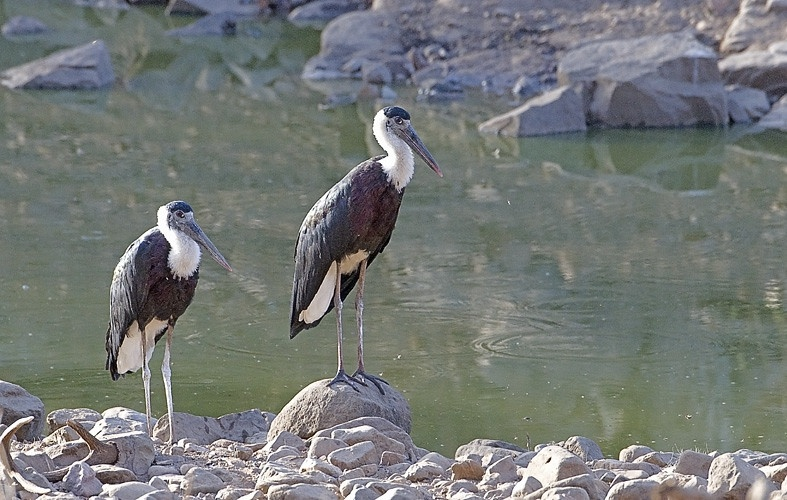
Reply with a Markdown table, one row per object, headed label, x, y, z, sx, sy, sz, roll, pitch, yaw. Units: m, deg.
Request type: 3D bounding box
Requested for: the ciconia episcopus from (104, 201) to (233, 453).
| label | x | y | z | sx | sy | sz | roll | pitch | yaw |
| --- | --- | --- | --- | --- | --- | --- | --- | --- | --- |
| ciconia episcopus | -3.002 | 0.864 | 16.410 | 1.336 | 2.905 | 0.709 | 2 | 5 | 29 |
